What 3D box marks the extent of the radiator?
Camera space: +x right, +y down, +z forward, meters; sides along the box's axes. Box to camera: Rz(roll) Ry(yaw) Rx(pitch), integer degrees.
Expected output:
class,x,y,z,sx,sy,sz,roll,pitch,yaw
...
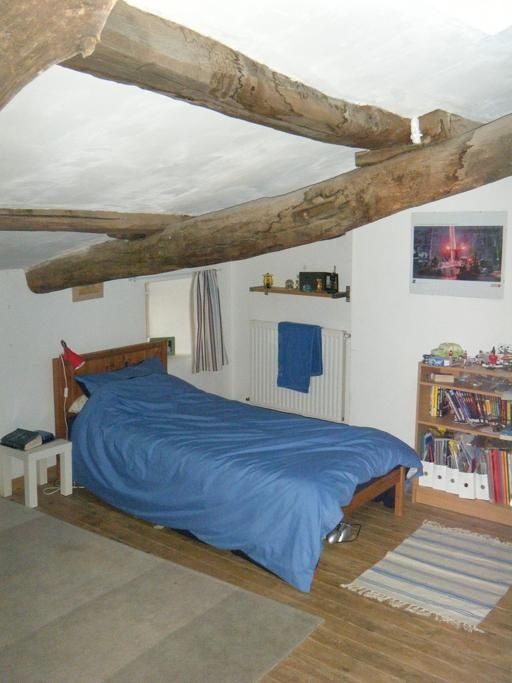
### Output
class,x,y,z,sx,sy,sz,roll,pitch,yaw
radiator,0.448,0.291,5.491,0.990,0.733,0.083,13,21,40

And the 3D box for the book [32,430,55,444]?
class,x,y,z,sx,sy,sz,roll,pitch,yaw
book,-1.614,0.716,4.246,0.111,0.036,0.113,11,13,43

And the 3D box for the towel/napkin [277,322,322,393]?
class,x,y,z,sx,sy,sz,roll,pitch,yaw
towel/napkin,0.447,0.145,5.481,0.575,0.761,0.266,13,28,38
